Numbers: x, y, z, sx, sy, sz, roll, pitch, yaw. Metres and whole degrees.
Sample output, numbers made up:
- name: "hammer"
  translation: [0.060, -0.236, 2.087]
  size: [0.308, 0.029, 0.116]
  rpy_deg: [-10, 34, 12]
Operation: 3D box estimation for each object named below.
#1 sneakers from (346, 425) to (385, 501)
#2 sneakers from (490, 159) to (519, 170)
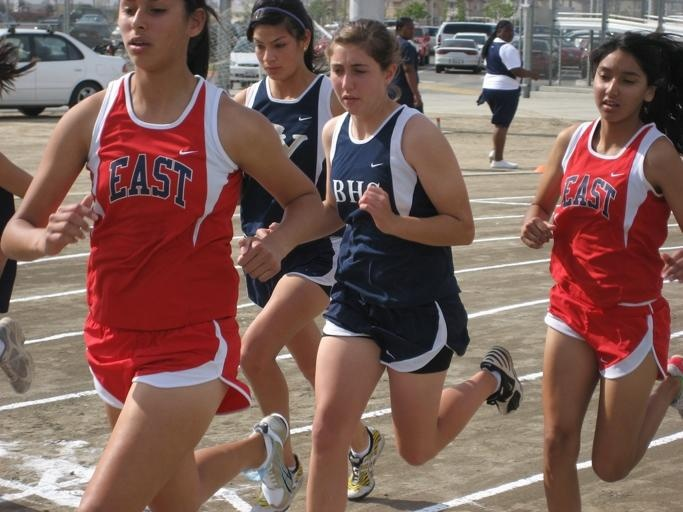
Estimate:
- name: "sneakers"
  translation: [0.148, 1.092, 3.719]
  size: [0.144, 0.365, 0.176]
  rpy_deg: [8, -1, 24]
- name: "sneakers"
  translation: [3.411, -1.946, 14.831]
  size: [0.609, 0.216, 0.210]
  rpy_deg: [0, 8, -4]
